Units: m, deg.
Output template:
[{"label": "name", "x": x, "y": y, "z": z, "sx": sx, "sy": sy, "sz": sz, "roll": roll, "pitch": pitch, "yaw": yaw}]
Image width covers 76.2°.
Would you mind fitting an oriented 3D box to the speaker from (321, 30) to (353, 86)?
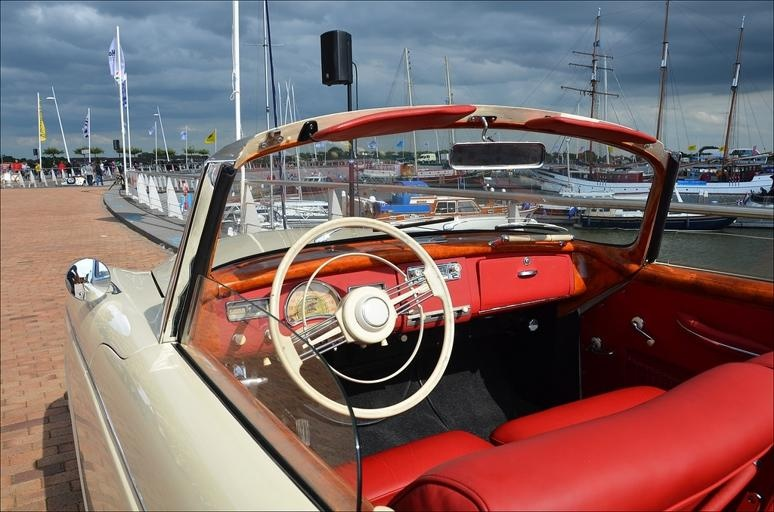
[{"label": "speaker", "x": -0.444, "y": -1.776, "z": 4.440, "sx": 0.265, "sy": 0.447, "sz": 0.266, "roll": -2, "pitch": 14, "yaw": -9}]
